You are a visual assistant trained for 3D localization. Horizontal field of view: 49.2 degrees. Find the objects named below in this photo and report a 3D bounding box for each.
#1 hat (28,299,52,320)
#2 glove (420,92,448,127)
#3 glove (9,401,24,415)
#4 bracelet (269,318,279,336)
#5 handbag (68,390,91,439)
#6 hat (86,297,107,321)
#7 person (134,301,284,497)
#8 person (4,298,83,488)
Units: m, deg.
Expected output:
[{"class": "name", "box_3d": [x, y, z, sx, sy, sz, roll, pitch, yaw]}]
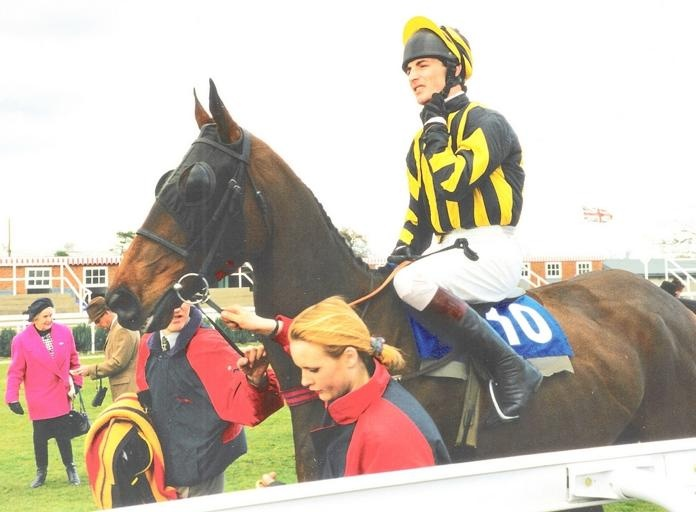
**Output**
[{"class": "hat", "box_3d": [-1.281, 0.210, 3.156, 0.092, 0.054, 0.072, -30, -25, 8]}, {"class": "glove", "box_3d": [0.387, -0.656, 3.443, 0.142, 0.150, 0.121, -6, -2, 7]}, {"class": "glove", "box_3d": [-1.431, 0.658, 3.280, 0.050, 0.049, 0.057, -14, -30, -4]}, {"class": "bracelet", "box_3d": [-0.306, 0.300, 3.185, 0.034, 0.062, 0.016, -3, -9, 12]}, {"class": "handbag", "box_3d": [-1.153, 0.687, 3.263, 0.065, 0.192, 0.133, 4, -27, -20]}, {"class": "hat", "box_3d": [-1.038, 0.219, 3.144, 0.069, 0.031, 0.083, -38, 13, 43]}, {"class": "person", "box_3d": [-0.608, 0.604, 3.213, 0.740, 0.737, 0.315, -1, -5, 7]}, {"class": "person", "box_3d": [-1.312, 0.595, 3.272, 0.300, 0.797, 0.360, 2, -9, -25]}]
